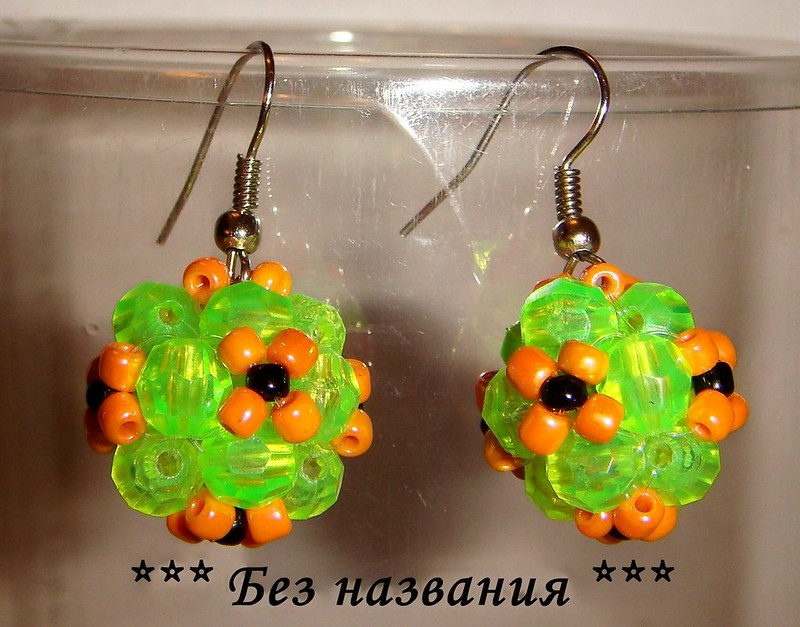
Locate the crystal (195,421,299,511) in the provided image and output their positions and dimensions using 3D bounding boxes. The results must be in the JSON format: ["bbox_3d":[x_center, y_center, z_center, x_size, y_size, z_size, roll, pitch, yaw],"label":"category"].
[{"bbox_3d":[-0.147,0.146,0.847,0.083,0.044,0.077,28,48,20],"label":"crystal"}]

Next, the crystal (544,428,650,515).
[{"bbox_3d":[0.196,0.148,0.886,0.097,0.064,0.105,-4,-1,35],"label":"crystal"}]

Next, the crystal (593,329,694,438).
[{"bbox_3d":[0.237,0.060,0.881,0.086,0.100,0.086,-5,7,-7],"label":"crystal"}]

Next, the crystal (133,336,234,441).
[{"bbox_3d":[-0.214,0.073,0.871,0.086,0.100,0.087,5,-16,-38],"label":"crystal"}]

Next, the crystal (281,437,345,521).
[{"bbox_3d":[-0.086,0.167,0.893,0.069,0.040,0.075,-4,47,-9],"label":"crystal"}]

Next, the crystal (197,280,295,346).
[{"bbox_3d":[-0.150,-0.003,0.860,0.070,0.052,0.056,0,9,2],"label":"crystal"}]

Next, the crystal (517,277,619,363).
[{"bbox_3d":[0.192,0.002,0.898,0.077,0.042,0.079,-9,6,30],"label":"crystal"}]
